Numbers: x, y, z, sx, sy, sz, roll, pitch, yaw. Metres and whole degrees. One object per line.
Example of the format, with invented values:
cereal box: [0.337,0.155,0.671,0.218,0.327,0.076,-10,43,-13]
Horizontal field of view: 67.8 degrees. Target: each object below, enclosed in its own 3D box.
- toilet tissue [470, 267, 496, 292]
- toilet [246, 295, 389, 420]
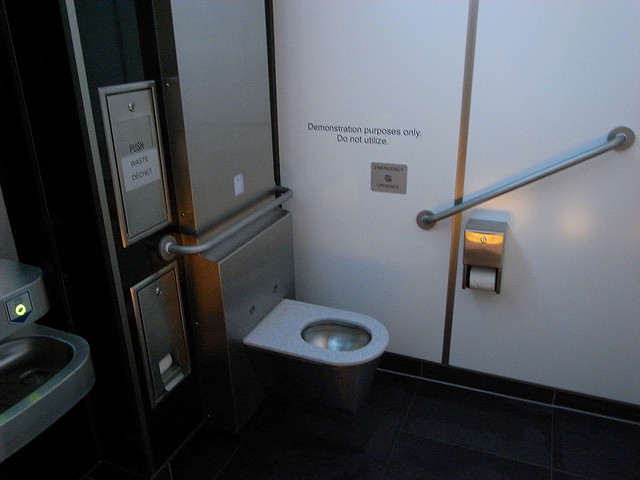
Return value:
toilet tissue: [0.785,0.193,2.317,0.131,0.132,0.100,6,16,24]
toilet: [0.007,0.637,2.469,0.614,0.413,0.482,5,24,15]
